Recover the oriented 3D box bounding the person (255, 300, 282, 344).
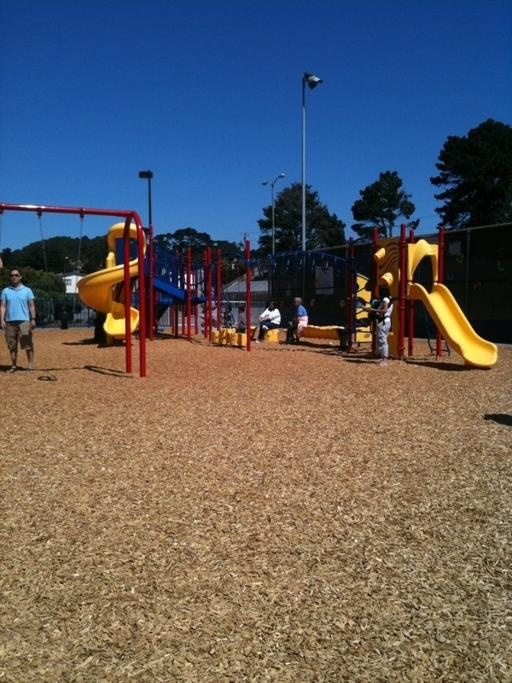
[{"bbox_3d":[0.365,-0.532,18.373,0.642,1.106,1.714,0,6,1],"label":"person"}]

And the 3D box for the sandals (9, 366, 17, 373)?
[{"bbox_3d":[-3.705,0.436,9.770,0.086,0.095,0.235,-2,0,-24],"label":"sandals"}]

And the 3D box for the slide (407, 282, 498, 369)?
[{"bbox_3d":[4.427,-0.364,14.003,0.699,1.321,3.216,-8,30,-9],"label":"slide"}]

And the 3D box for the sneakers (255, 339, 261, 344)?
[{"bbox_3d":[0.068,0.022,18.057,0.075,0.097,0.234,0,11,16],"label":"sneakers"}]
